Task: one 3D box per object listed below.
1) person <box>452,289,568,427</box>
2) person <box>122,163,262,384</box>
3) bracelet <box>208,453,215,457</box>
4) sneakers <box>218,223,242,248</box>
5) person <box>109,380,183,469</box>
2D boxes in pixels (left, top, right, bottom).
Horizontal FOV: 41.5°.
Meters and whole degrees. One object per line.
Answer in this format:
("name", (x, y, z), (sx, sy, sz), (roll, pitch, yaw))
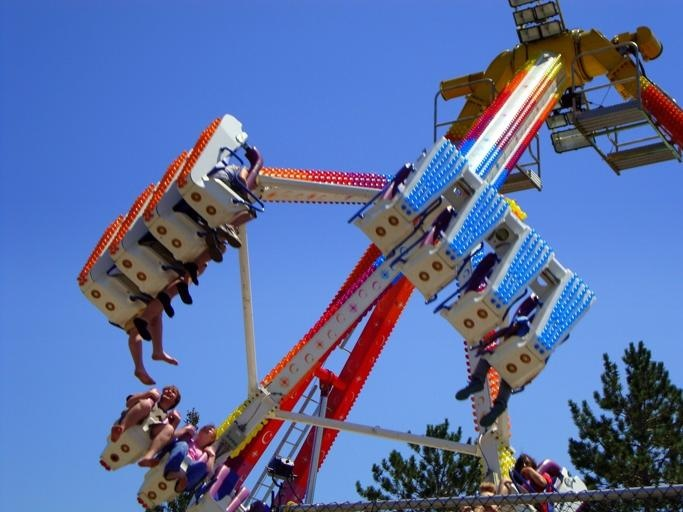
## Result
("person", (2.640, 1.948, 14.753), (0.848, 1.913, 0.624), (58, -45, 13))
("person", (-2.653, -0.190, 14.718), (1.188, 3.960, 0.789), (34, 1, 7))
("bracelet", (-2.326, 3.544, 15.984), (0.123, 0.034, 0.135), (-6, -34, 9))
("sneakers", (-1.895, -0.332, 15.398), (0.586, 0.188, 0.259), (57, -11, 2))
("person", (-3.352, 2.957, 15.958), (0.860, 1.381, 0.709), (-4, -43, 48))
